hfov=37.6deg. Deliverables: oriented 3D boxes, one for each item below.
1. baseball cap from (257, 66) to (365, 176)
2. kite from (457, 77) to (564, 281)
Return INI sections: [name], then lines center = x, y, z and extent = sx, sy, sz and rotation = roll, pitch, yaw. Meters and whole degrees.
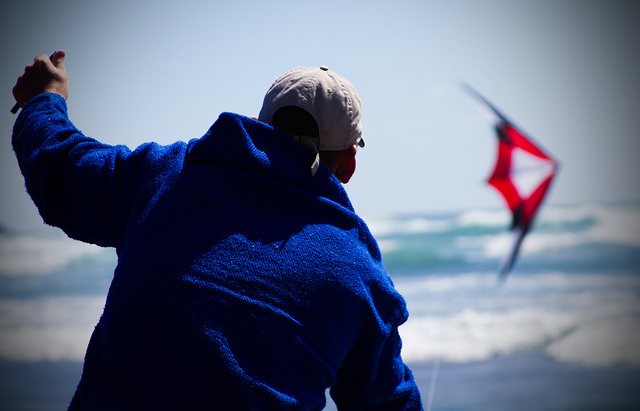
[baseball cap]
center = -0.012, -0.323, 3.222
extent = 0.354, 0.308, 0.524
rotation = 14, 10, 14
[kite]
center = 0.809, -0.117, 3.897
extent = 0.325, 0.875, 0.014
rotation = -11, 26, 3
